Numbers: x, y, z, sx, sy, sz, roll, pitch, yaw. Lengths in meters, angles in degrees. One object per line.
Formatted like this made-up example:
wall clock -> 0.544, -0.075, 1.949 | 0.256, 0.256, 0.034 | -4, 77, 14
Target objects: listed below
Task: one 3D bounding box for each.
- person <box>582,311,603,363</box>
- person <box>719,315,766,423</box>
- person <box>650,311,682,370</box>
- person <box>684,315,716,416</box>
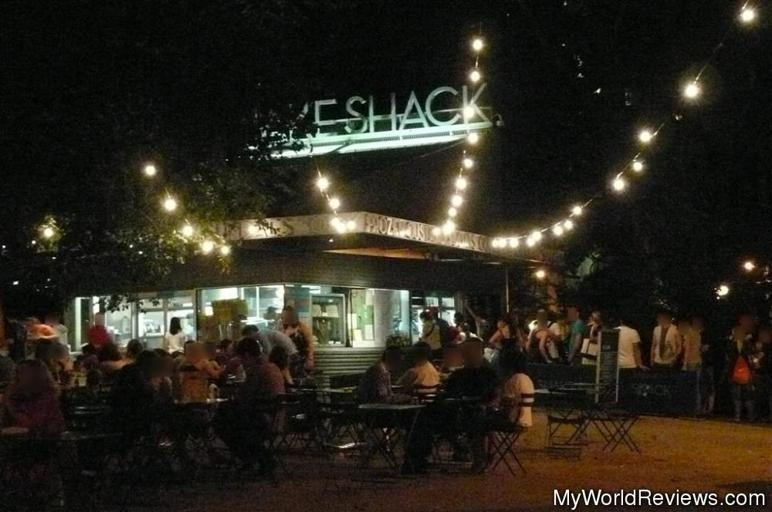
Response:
person -> 4.352, 1.725, 17.151 | 0.433, 1.221, 1.608 | -1, -9, 13
person -> 7.206, 2.232, 16.207 | 0.677, 2.083, 1.226 | -5, -10, 36
person -> 5.945, 1.781, 17.121 | 0.612, 1.179, 0.407 | -3, -9, 22
person -> 6.475, 2.285, 16.765 | 0.508, 1.984, 0.821 | -5, -10, 36
